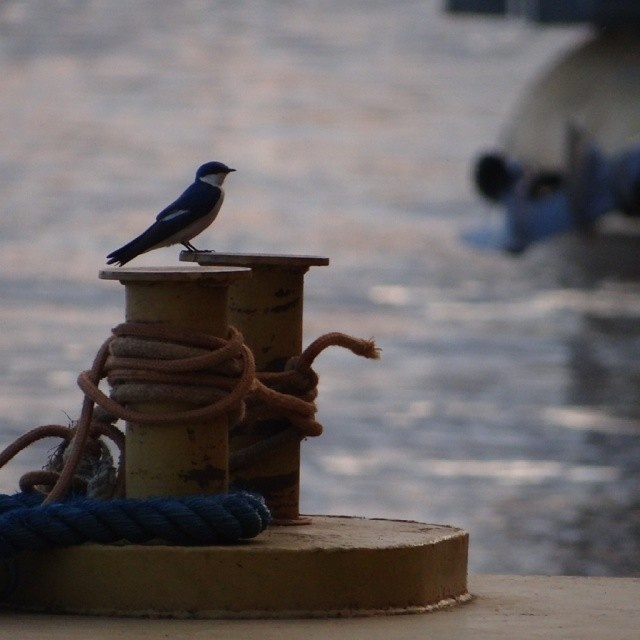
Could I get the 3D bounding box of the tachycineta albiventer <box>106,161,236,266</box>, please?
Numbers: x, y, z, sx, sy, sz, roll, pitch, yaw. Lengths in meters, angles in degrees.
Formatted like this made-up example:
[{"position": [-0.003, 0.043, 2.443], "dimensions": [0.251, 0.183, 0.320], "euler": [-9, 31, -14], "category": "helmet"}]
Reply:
[{"position": [-0.802, -0.583, 11.226], "dimensions": [0.898, 0.472, 0.278], "euler": [-10, -7, 29], "category": "tachycineta albiventer"}]
